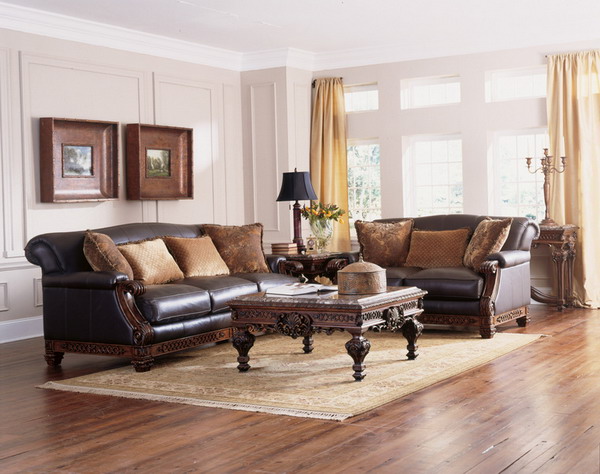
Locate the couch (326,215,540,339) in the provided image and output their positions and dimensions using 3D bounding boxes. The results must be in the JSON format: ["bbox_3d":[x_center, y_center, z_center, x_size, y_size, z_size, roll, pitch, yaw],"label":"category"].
[{"bbox_3d":[1.569,0.285,5.719,2.362,1.164,1.382,0,-1,37],"label":"couch"}]

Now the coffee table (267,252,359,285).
[{"bbox_3d":[0.120,0.324,5.977,0.528,0.265,0.657,1,2,32],"label":"coffee table"}]

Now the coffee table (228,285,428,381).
[{"bbox_3d":[0.136,0.591,3.941,0.977,0.368,0.916,-1,0,28],"label":"coffee table"}]

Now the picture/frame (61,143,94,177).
[{"bbox_3d":[-2.481,-0.826,5.709,0.073,0.367,0.486,-1,-2,40],"label":"picture/frame"}]

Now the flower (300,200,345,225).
[{"bbox_3d":[0.268,-0.285,6.309,0.432,0.190,0.361,-1,8,-16],"label":"flower"}]

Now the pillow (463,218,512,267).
[{"bbox_3d":[1.880,0.052,5.348,0.177,0.470,0.547,22,-9,-7],"label":"pillow"}]
